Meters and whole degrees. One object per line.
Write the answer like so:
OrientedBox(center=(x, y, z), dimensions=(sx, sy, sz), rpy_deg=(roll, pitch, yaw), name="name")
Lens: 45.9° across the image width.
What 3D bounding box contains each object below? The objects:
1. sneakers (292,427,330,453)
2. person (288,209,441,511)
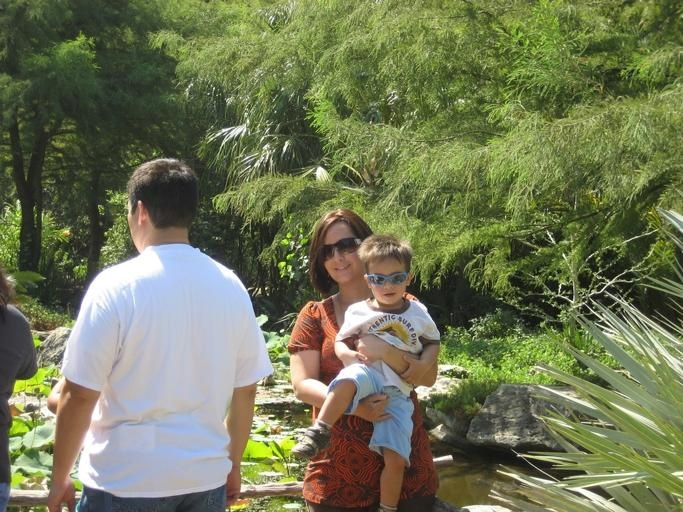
OrientedBox(center=(-0.170, 1.057, 4.638), dimensions=(0.101, 0.120, 0.266), rpy_deg=(0, 5, 31), name="sneakers")
OrientedBox(center=(0.103, 0.616, 4.843), dimensions=(0.838, 1.866, 0.317), rpy_deg=(-5, -7, 1), name="person")
